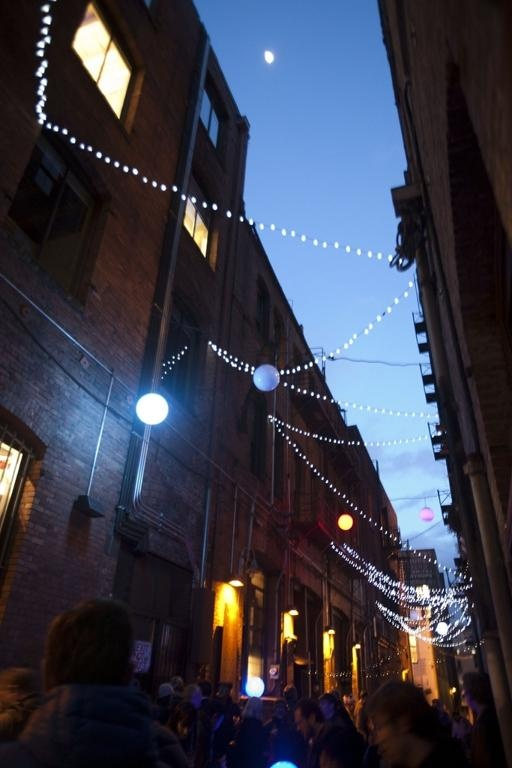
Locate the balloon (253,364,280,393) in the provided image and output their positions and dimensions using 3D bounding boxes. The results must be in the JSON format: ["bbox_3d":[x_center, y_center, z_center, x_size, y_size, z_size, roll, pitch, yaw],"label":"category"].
[{"bbox_3d":[0.249,-0.241,11.057,0.522,0.684,0.465,-1,-26,14],"label":"balloon"}]
